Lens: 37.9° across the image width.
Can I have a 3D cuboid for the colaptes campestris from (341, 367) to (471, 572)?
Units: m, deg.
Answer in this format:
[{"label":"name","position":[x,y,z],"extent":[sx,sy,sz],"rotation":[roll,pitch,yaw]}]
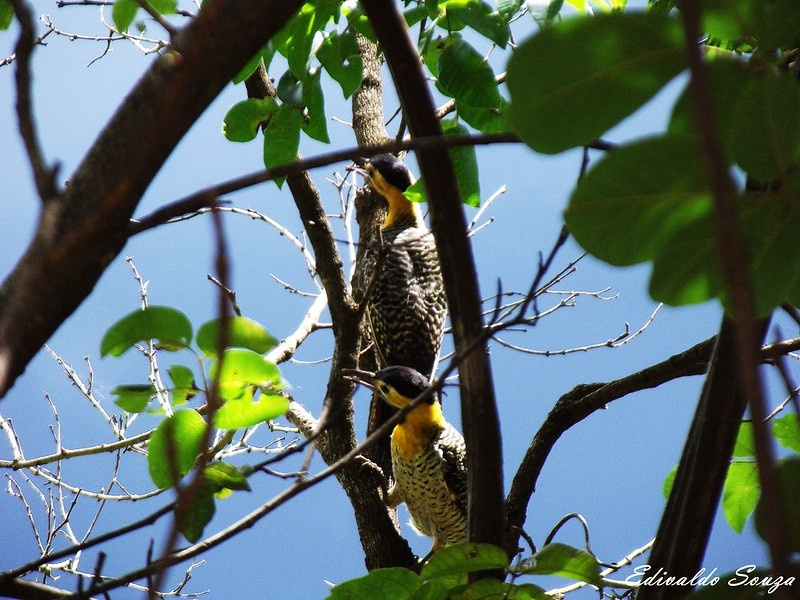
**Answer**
[{"label":"colaptes campestris","position":[0.059,0.488,3.347],"extent":[0.275,0.449,0.647],"rotation":[9,-74,44]}]
